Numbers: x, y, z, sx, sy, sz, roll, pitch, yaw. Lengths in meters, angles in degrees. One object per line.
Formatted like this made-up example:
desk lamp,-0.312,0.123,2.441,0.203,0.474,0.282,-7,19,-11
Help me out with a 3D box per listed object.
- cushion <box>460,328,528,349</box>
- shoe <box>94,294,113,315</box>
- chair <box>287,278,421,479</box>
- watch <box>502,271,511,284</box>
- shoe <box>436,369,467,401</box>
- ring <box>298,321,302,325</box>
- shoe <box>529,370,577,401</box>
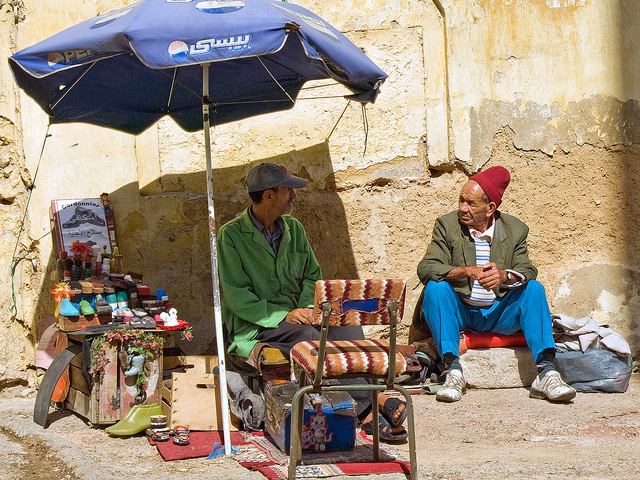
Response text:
cushion,1.560,0.895,8.602,0.540,0.123,0.147,-5,-3,7
shoe,-1.788,0.536,7.947,0.154,0.152,0.341,1,-2,-19
chair,0.247,1.055,7.535,0.951,1.471,1.634,-4,-3,4
watch,1.619,0.326,8.338,0.077,0.078,0.067,26,-23,-18
shoe,1.145,1.246,8.395,0.219,0.244,0.510,6,7,24
ring,-0.164,0.676,7.852,0.030,0.029,0.007,2,-1,-9
shoe,1.979,1.251,8.226,0.208,0.259,0.544,4,-3,-21
